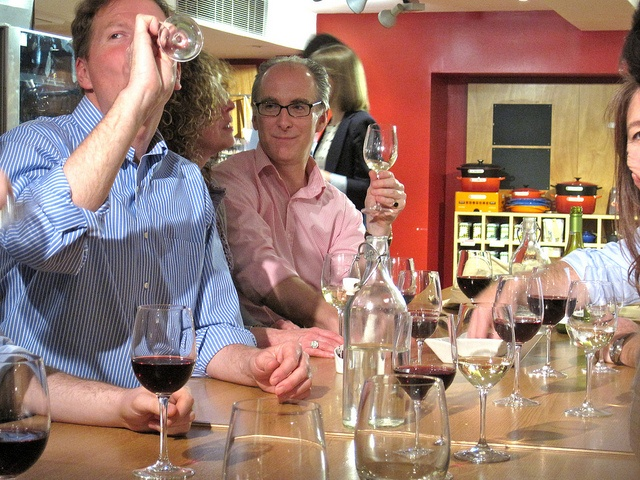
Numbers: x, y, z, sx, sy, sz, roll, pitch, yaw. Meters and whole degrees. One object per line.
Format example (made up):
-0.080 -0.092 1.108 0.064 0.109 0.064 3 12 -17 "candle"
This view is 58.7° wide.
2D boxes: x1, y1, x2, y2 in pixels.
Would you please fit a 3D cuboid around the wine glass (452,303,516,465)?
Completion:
0.299 0.256 1.044 0.106 0.253 0.174 2 3 17 "wine glass"

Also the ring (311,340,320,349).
-0.013 0.308 1.671 0.014 0.020 0.020 -14 7 -17 "ring"

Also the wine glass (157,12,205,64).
-0.369 -0.520 1.453 0.097 0.119 0.129 -1 3 -41 "wine glass"

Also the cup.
0.623 0.241 1.315 0.113 0.270 0.268 3 3 27 "cup"

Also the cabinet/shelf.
2.184 0.208 6.091 0.356 0.920 1.894 7 -3 -27 "cabinet/shelf"

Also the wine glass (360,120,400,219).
0.254 -0.309 2.408 0.131 0.398 0.283 1 2 4 "wine glass"
